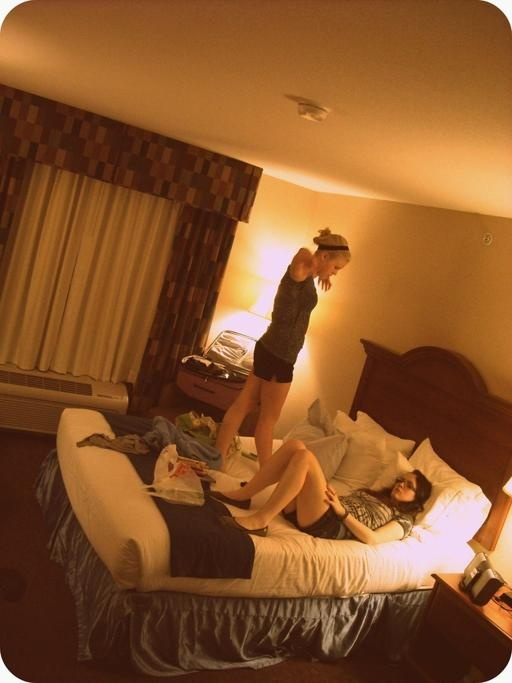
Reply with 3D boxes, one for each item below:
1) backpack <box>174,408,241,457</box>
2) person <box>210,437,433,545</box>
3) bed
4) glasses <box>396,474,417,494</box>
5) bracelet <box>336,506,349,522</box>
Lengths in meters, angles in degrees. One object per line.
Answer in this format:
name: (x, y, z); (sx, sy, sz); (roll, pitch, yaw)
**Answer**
backpack: (-0.296, 0.549, 3.328); (0.345, 0.157, 0.223); (30, 28, 14)
person: (0.361, 0.814, 2.712); (1.056, 0.440, 0.507); (18, -6, -15)
bed: (0.160, 0.922, 2.717); (1.826, 1.112, 1.781); (16, 23, -21)
glasses: (0.800, 0.770, 2.907); (0.077, 0.093, 0.058); (7, -45, 39)
bracelet: (0.413, 0.824, 2.589); (0.045, 0.025, 0.060); (4, 21, 2)
